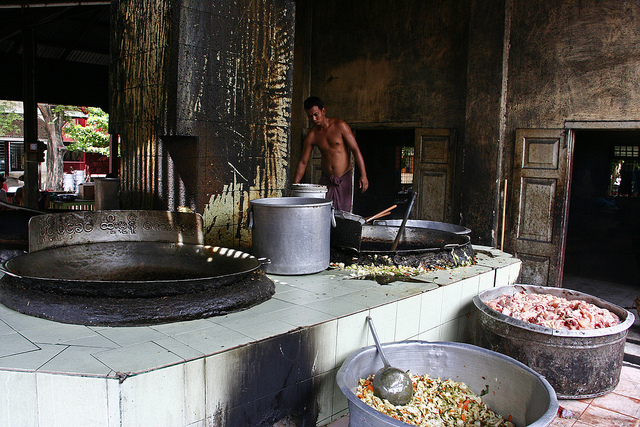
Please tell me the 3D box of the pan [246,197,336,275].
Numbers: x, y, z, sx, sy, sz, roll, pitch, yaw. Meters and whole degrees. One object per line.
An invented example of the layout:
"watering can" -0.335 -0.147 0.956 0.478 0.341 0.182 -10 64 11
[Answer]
"pan" -0.208 0.154 3.361 0.626 0.479 0.589 -4 6 -18

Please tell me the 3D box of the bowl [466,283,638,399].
"bowl" 1.559 0.716 3.210 0.897 0.332 0.872 0 5 0

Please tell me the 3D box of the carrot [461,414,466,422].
"carrot" 0.811 1.171 2.636 0.025 0.031 0.031 3 6 16

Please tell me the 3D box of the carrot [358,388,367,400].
"carrot" 0.232 1.011 2.568 0.014 0.039 0.029 -19 0 -14

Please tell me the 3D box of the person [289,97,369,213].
"person" 0.162 -0.710 6.093 0.896 1.317 0.475 2 7 5

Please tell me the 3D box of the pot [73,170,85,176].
"pot" -7.018 -1.175 13.573 0.313 0.114 0.317 1 0 0

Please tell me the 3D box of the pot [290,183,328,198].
"pot" -0.115 -0.202 4.258 0.204 0.197 0.204 0 1 0

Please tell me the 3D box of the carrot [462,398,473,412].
"carrot" 0.858 1.122 2.713 0.049 0.018 0.049 -36 28 4

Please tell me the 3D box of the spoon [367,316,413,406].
"spoon" 0.368 0.841 2.648 0.204 0.455 0.267 -3 8 -31

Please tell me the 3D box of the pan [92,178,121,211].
"pan" -3.037 -0.276 6.648 0.227 0.435 0.396 -5 9 -41

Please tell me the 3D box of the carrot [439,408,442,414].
"carrot" 0.688 1.144 2.661 0.016 0.015 0.023 2 6 5
